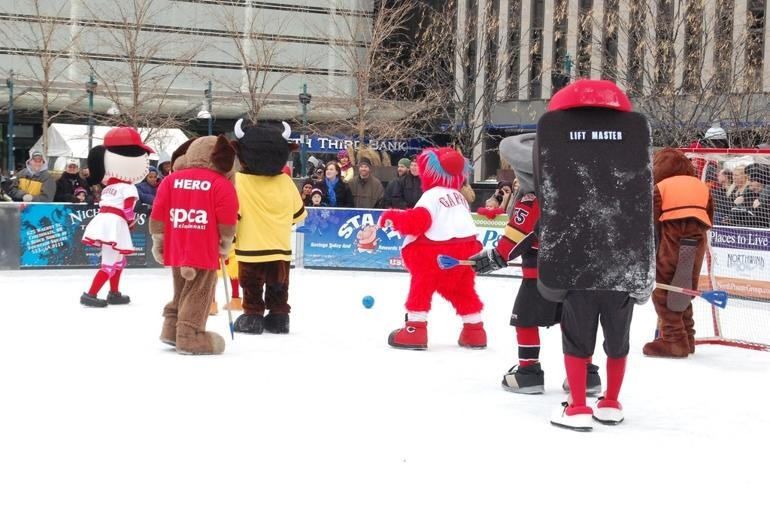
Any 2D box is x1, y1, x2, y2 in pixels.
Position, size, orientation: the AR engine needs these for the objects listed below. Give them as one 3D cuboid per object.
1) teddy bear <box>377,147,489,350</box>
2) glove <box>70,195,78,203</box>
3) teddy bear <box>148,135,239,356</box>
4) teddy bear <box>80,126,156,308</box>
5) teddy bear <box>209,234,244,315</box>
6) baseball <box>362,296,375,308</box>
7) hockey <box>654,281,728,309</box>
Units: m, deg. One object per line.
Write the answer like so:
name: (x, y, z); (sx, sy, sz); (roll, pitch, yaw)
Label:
teddy bear: (0.503, -0.085, 10.366); (1.562, 2.228, 0.991); (4, -4, -36)
glove: (-5.222, -0.940, 15.338); (0.088, 0.116, 0.030); (5, -4, 9)
teddy bear: (-1.982, -0.130, 9.541); (0.855, 2.213, 0.675); (-1, 10, -15)
teddy bear: (-3.537, -0.496, 11.881); (0.879, 2.320, 0.846); (-3, 11, -27)
teddy bear: (-1.947, 0.294, 11.811); (0.216, 0.844, 0.293); (-1, 0, -34)
baseball: (-0.228, 0.607, 12.219); (0.159, 0.154, 0.266); (1, 10, -5)
hockey: (2.944, 0.379, 8.769); (0.791, 0.383, 0.562); (-1, -1, 6)
